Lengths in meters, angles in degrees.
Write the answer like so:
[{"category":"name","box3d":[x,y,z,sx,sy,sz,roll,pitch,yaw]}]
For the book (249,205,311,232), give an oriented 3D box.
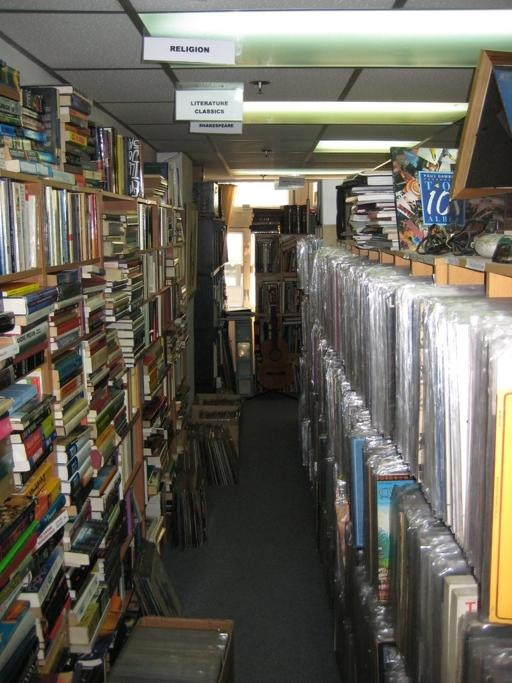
[{"category":"book","box3d":[0.348,-1.786,7.598,0.832,0.435,0.310,0,8,14]}]
